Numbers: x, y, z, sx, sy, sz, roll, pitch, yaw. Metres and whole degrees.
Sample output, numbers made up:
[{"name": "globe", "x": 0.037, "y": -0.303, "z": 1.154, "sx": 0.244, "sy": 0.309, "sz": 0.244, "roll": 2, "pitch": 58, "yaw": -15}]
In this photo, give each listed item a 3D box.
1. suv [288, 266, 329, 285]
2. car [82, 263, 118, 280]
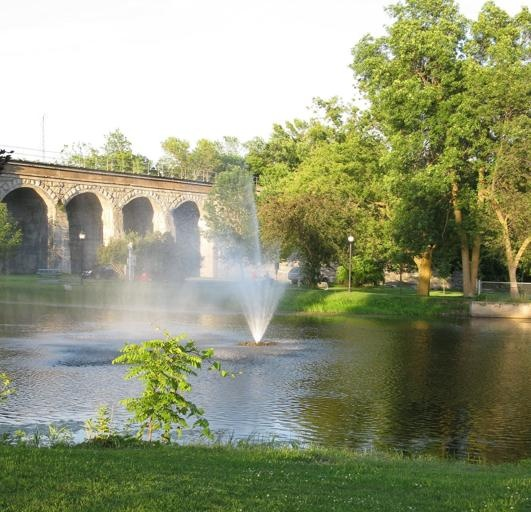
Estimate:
[{"name": "suv", "x": 3.030, "y": 1.655, "z": 83.619, "sx": 3.052, "sy": 1.464, "sz": 1.486, "roll": -3, "pitch": 0, "yaw": 27}, {"name": "car", "x": -13.081, "y": 1.370, "z": 80.880, "sx": 2.464, "sy": 1.311, "sz": 1.457, "roll": 4, "pitch": -3, "yaw": -22}]
